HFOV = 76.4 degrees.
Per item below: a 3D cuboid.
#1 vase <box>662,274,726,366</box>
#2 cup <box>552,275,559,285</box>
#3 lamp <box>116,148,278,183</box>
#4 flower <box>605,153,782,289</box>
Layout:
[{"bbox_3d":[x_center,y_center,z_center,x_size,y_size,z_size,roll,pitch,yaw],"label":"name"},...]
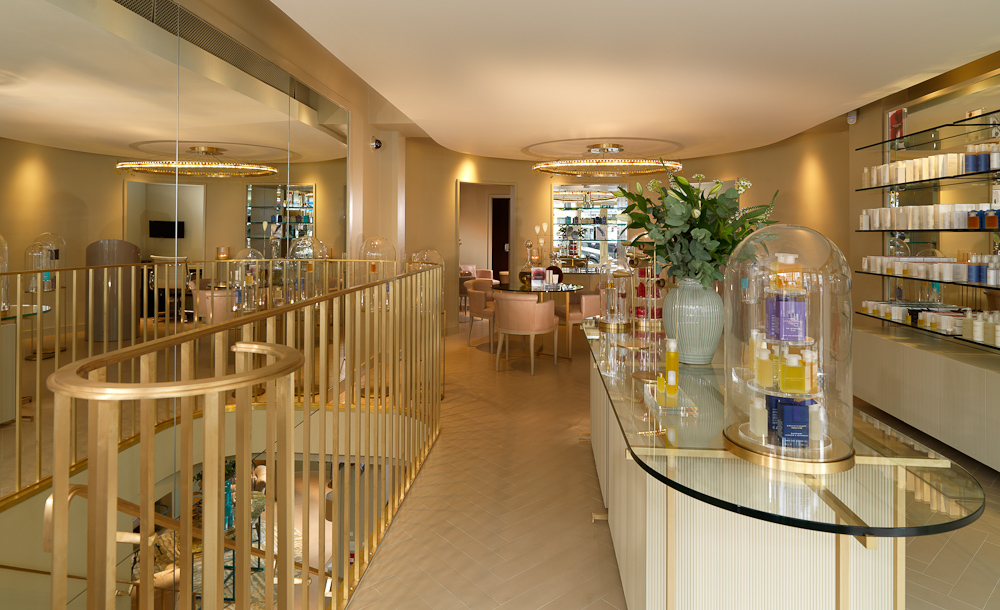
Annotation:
[{"bbox_3d":[1.285,0.110,4.236,0.379,0.565,0.215,2,7,18],"label":"vase"},{"bbox_3d":[0.862,-0.394,9.822,0.123,0.155,0.128,-1,1,0],"label":"cup"},{"bbox_3d":[-3.080,-1.447,6.492,0.216,0.363,1.671,3,7,20],"label":"lamp"},{"bbox_3d":[1.508,-0.578,4.583,1.009,0.696,1.028,0,3,39],"label":"flower"}]
